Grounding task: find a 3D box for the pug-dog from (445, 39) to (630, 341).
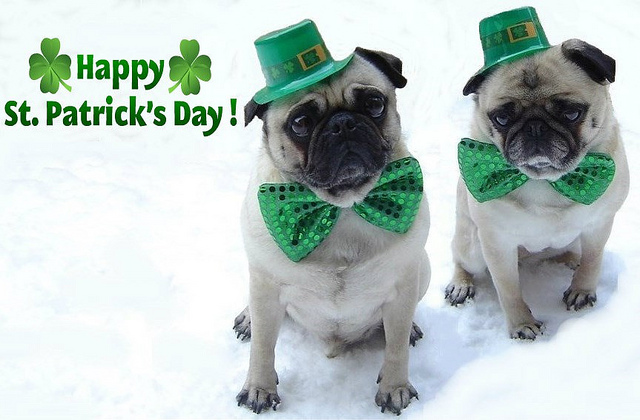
[{"bbox_3d":[1.498,-0.320,4.769,1.220,2.138,2.012,0,-28,3],"label":"pug-dog"}]
